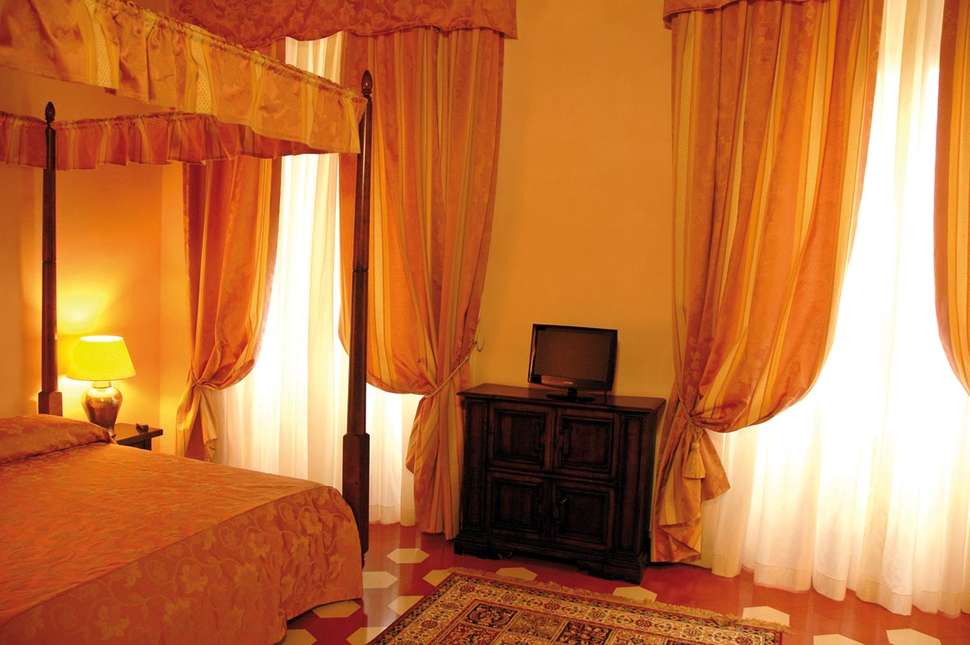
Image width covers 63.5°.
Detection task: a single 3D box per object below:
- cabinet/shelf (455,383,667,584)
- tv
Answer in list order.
[{"bbox_3d":[0.520,1.076,5.644,1.359,1.239,0.624,4,7,15],"label":"cabinet/shelf"},{"bbox_3d":[0.641,0.284,5.570,0.466,0.411,0.203,2,-10,21],"label":"tv"}]
